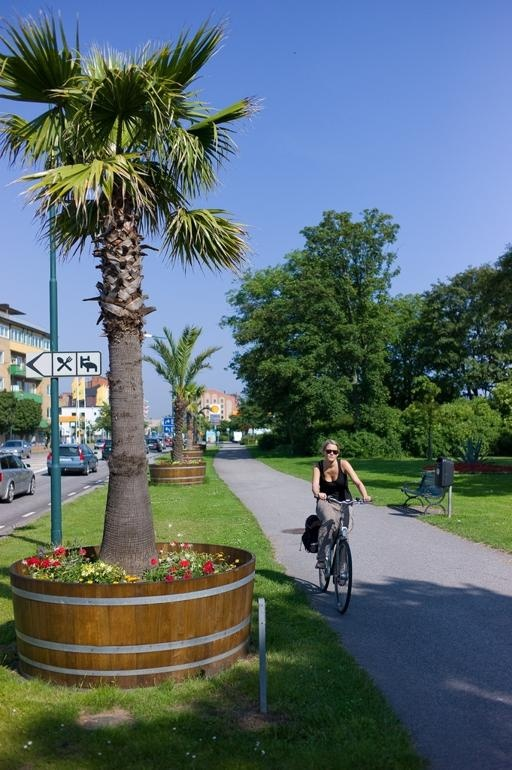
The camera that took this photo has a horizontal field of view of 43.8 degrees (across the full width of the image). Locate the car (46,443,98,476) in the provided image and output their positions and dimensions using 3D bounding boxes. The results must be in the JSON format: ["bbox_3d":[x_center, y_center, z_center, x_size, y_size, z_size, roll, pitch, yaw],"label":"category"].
[{"bbox_3d":[-8.710,3.632,31.389,1.681,1.509,3.329,1,-3,-16],"label":"car"}]

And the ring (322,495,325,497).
[{"bbox_3d":[0.691,1.132,6.499,0.023,0.023,0.023,2,6,0],"label":"ring"}]

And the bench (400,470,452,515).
[{"bbox_3d":[3.921,2.514,14.708,0.615,1.034,1.562,2,-7,-7],"label":"bench"}]

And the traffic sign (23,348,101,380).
[{"bbox_3d":[-2.754,-0.308,9.151,0.998,0.428,0.685,1,-3,-20],"label":"traffic sign"}]
